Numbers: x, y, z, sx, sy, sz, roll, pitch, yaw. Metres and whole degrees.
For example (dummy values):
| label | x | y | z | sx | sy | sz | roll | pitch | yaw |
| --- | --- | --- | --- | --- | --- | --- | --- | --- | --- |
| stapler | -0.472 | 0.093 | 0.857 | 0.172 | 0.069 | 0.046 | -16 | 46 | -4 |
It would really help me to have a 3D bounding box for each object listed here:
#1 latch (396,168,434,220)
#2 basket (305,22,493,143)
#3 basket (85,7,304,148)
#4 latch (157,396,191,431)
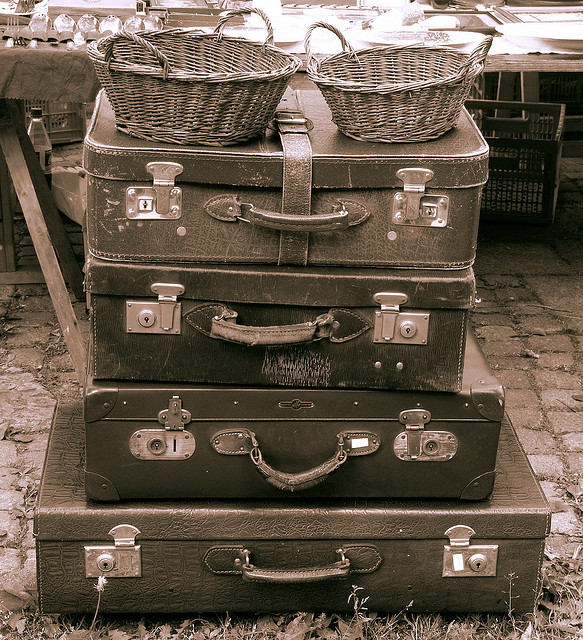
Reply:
| label | x | y | z | sx | sy | sz | roll | pitch | yaw |
| --- | --- | --- | --- | --- | --- | --- | --- | --- | --- |
| latch | 0.289 | -0.296 | 1.779 | 0.083 | 0.121 | 0.025 | 2 | 26 | 10 |
| basket | 0.272 | -0.627 | 1.938 | 0.437 | 0.230 | 0.412 | -4 | 32 | -5 |
| basket | -0.240 | -0.606 | 1.874 | 0.490 | 0.310 | 0.503 | -7 | 23 | -12 |
| latch | -0.296 | 0.229 | 1.897 | 0.100 | 0.087 | 0.029 | 2 | 10 | -5 |
